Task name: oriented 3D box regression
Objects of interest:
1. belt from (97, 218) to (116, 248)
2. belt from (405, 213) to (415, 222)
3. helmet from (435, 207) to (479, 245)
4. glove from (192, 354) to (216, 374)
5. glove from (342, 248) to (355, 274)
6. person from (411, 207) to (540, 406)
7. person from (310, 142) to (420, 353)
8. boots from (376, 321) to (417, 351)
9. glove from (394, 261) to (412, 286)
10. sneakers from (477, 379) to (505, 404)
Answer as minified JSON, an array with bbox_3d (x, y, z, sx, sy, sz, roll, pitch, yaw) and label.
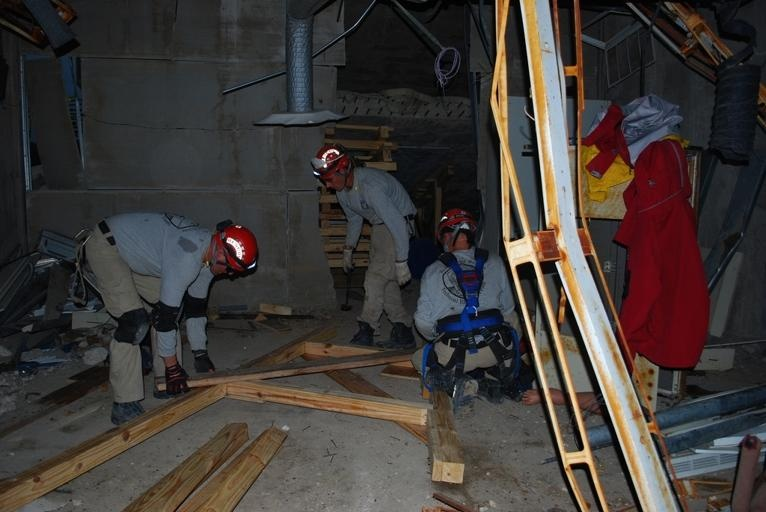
[{"bbox_3d":[-2.887,-0.246,6.450,0.063,0.265,0.185,-26,40,-28],"label":"belt"},{"bbox_3d":[0.343,-0.502,7.913,0.117,0.066,0.163,-2,1,10],"label":"belt"},{"bbox_3d":[0.810,-0.335,6.771,0.423,0.397,0.326,1,-4,27],"label":"helmet"},{"bbox_3d":[-2.018,1.227,6.933,0.200,0.128,0.268,5,52,-17],"label":"glove"},{"bbox_3d":[-0.483,0.064,8.492,0.104,0.267,0.190,2,4,-10],"label":"glove"},{"bbox_3d":[0.926,0.548,6.570,1.223,1.981,0.603,-3,11,2],"label":"person"},{"bbox_3d":[-0.175,-0.143,7.904,1.137,2.545,1.127,1,11,20],"label":"person"},{"bbox_3d":[0.223,1.021,7.895,0.598,0.423,0.236,3,-3,-1],"label":"boots"},{"bbox_3d":[0.253,0.204,7.745,0.209,0.267,0.125,0,-1,-24],"label":"glove"},{"bbox_3d":[1.152,1.414,6.579,0.148,0.148,0.340,-8,27,-27],"label":"sneakers"}]
